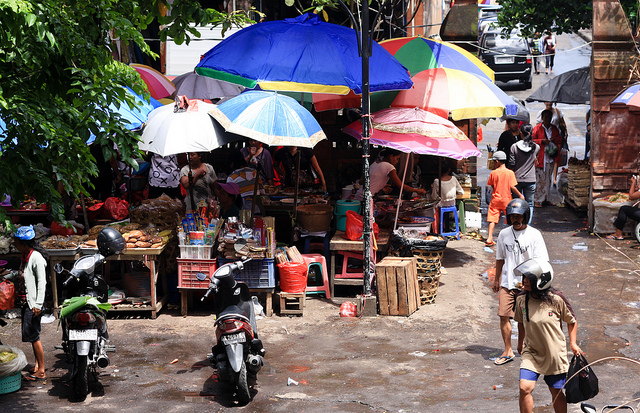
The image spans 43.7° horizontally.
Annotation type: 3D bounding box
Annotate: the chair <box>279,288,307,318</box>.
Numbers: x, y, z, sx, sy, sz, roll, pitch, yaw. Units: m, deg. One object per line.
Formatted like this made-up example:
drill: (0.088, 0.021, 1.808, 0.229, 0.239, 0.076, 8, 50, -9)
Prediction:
chair: (-0.534, 1.835, 15.028, 0.447, 0.500, 0.796, 0, 0, -2)

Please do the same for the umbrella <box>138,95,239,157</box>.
umbrella: (-2.317, -1.739, 14.631, 1.315, 1.345, 0.489, -18, -33, -3)

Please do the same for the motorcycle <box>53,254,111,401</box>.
motorcycle: (-3.634, 1.854, 12.308, 0.794, 2.117, 0.876, -4, 5, -19)

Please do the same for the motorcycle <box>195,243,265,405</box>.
motorcycle: (-1.294, 1.915, 12.173, 0.835, 2.077, 0.921, -3, 4, -5)

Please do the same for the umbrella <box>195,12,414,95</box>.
umbrella: (-0.280, -2.988, 15.886, 2.822, 1.050, 2.831, 3, 10, 0)

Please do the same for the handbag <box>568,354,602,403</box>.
handbag: (3.535, 2.336, 10.687, 0.377, 0.614, 0.495, -1, 5, 17)

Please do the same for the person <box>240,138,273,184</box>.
person: (-1.404, -0.942, 17.996, 0.693, 1.297, 0.779, -1, 6, -6)

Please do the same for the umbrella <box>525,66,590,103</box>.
umbrella: (6.879, -3.293, 22.382, 1.288, 0.522, 1.300, -10, 0, -22)

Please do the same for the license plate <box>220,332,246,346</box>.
license plate: (-1.319, 2.013, 12.077, 0.370, 0.180, 0.143, -3, 4, -10)

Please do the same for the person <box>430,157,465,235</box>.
person: (2.888, -0.067, 17.909, 0.779, 1.823, 0.538, -6, 24, -1)

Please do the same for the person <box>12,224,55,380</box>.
person: (-4.488, 1.531, 12.495, 0.448, 2.394, 0.459, -4, 5, -22)

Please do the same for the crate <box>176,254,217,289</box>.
crate: (-2.249, 1.198, 14.420, 0.593, 0.390, 0.600, 1, 3, 1)

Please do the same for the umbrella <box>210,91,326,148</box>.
umbrella: (-0.902, -1.560, 14.498, 1.898, 1.030, 0.915, -3, 4, -3)

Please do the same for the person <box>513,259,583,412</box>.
person: (3.150, 1.800, 10.958, 0.840, 2.116, 0.557, -1, 5, 14)

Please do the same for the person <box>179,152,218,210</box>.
person: (-2.364, -0.493, 15.571, 0.669, 1.071, 0.481, -3, 4, -9)

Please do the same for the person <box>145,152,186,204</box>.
person: (-3.295, -0.596, 16.998, 1.111, 1.220, 0.658, 0, -4, -8)

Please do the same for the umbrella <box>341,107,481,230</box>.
umbrella: (1.861, -0.517, 16.383, 2.547, 2.866, 2.653, 15, 14, 27)
